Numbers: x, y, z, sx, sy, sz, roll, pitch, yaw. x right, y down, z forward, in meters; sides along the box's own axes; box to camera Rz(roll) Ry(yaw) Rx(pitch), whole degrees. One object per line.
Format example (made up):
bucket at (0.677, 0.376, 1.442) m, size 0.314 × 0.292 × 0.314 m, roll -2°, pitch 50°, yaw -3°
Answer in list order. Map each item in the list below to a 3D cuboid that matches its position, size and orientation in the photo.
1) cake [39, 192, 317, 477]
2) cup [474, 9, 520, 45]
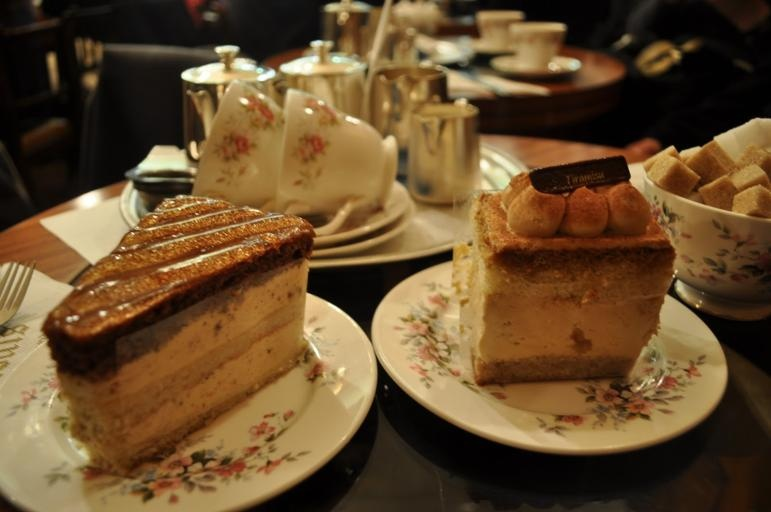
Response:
cake at (-0.514, 0.133, 1.671) m, size 0.684 × 0.478 × 0.530 m, roll -11°, pitch 38°, yaw -26°
cup at (0.667, -1.314, 3.721) m, size 0.244 × 0.172 × 0.253 m, roll 2°, pitch 20°, yaw -1°
